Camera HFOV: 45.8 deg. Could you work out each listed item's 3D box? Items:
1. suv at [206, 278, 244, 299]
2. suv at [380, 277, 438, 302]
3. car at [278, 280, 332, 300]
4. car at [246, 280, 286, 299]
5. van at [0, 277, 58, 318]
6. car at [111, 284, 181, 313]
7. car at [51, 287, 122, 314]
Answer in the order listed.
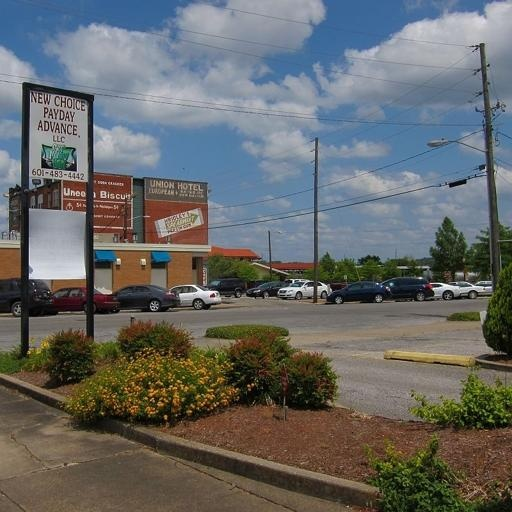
[{"bbox_3d":[-2.447,2.588,49.903,3.014,1.177,1.336,3,-2,-11],"label":"suv"},{"bbox_3d":[9.726,2.157,38.649,3.442,1.076,1.514,2,-5,3],"label":"suv"},{"bbox_3d":[3.440,2.567,44.471,3.511,1.049,1.582,3,-5,-35],"label":"car"},{"bbox_3d":[1.103,2.814,49.984,3.024,0.943,1.356,1,-4,-39],"label":"car"},{"bbox_3d":[-9.712,1.739,25.952,3.078,1.220,1.372,2,-1,9],"label":"van"},{"bbox_3d":[-5.141,2.022,28.894,2.791,0.829,1.195,4,-4,-2],"label":"car"},{"bbox_3d":[-7.800,2.057,27.550,2.819,1.213,1.732,1,-2,-18],"label":"car"}]
